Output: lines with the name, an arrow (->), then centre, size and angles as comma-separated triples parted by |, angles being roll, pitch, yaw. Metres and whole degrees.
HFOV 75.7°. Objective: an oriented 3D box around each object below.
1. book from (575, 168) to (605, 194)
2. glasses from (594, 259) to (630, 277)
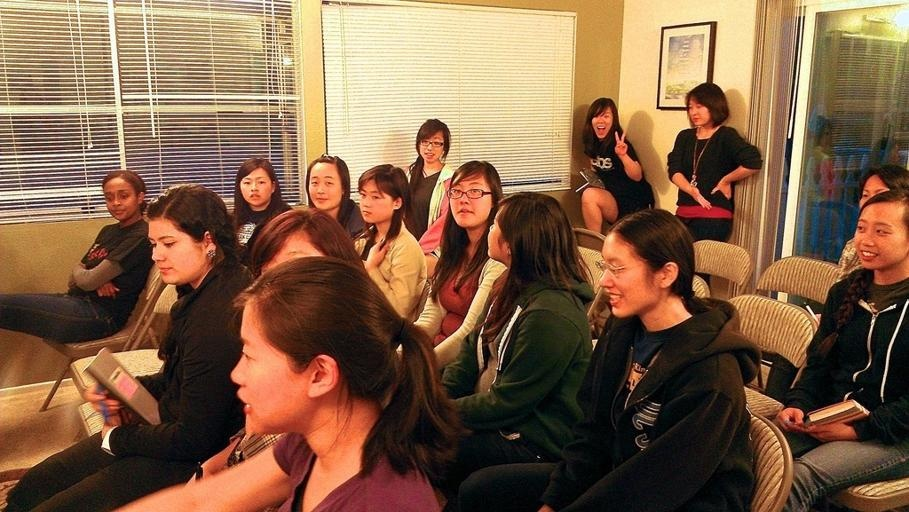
book -> 1.597, -0.867, 6.972 | 0.300, 0.278, 0.128 | -28, -10, 24
glasses -> 0.810, 0.076, 2.927 | 0.142, 0.040, 0.129 | 2, 5, -21
